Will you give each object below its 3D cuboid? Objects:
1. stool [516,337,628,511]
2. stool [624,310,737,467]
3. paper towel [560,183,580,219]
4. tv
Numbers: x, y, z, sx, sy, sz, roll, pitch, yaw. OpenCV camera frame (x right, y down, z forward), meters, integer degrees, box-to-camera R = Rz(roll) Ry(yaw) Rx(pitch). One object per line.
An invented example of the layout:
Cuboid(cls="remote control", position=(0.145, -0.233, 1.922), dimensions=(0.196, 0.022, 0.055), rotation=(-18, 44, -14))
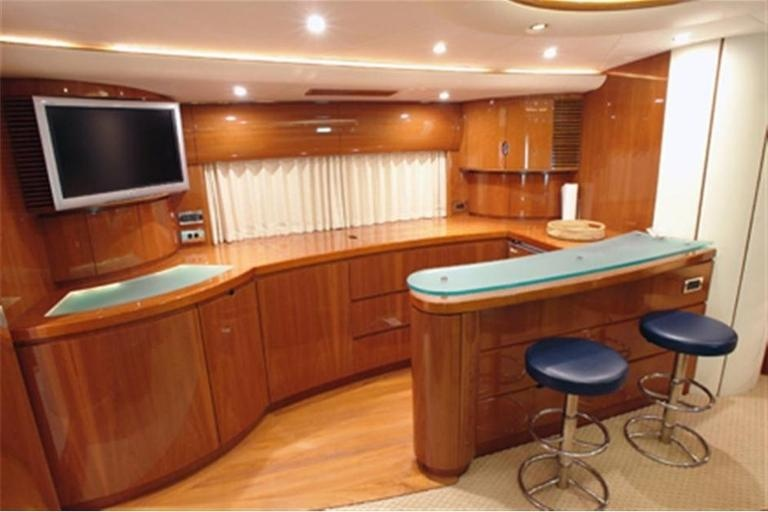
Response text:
Cuboid(cls="stool", position=(1.239, 1.070, 3.573), dimensions=(0.834, 1.012, 0.623), rotation=(-18, 21, -35))
Cuboid(cls="stool", position=(2.088, 0.892, 3.855), dimensions=(0.662, 1.000, 0.712), rotation=(0, 18, 20))
Cuboid(cls="paper towel", position=(1.751, -0.510, 5.147), dimensions=(0.135, 0.298, 0.132), rotation=(-5, 11, -22))
Cuboid(cls="tv", position=(-1.972, -0.727, 3.758), dimensions=(0.936, 0.607, 0.094), rotation=(-13, 20, -42))
